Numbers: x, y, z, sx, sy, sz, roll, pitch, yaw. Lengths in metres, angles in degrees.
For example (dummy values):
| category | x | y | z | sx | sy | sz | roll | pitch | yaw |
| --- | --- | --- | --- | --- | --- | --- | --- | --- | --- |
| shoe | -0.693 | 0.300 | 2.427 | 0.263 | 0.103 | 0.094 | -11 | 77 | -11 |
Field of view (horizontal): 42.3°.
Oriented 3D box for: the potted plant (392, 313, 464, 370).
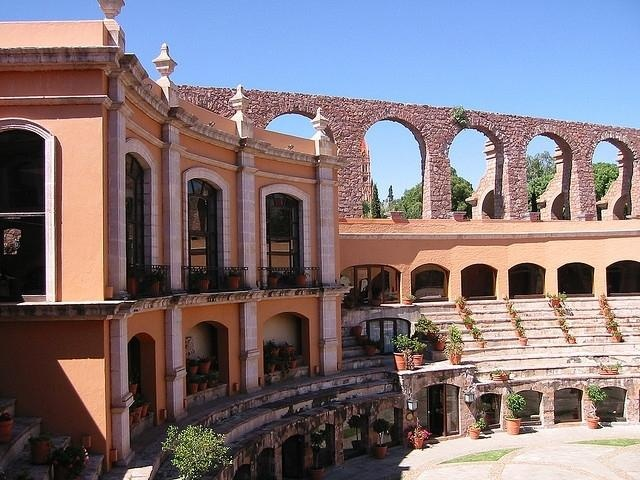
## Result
| category | x | y | z | sx | sy | sz | roll | pitch | yaw |
| --- | --- | --- | --- | --- | --- | --- | --- | --- | --- |
| potted plant | 5.038 | 4.704 | 38.139 | 2.961 | 2.073 | 3.488 | -3 | -2 | 22 |

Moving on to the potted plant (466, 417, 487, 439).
| category | x | y | z | sx | sy | sz | roll | pitch | yaw |
| --- | --- | --- | --- | --- | --- | --- | --- | --- | --- |
| potted plant | 7.049 | 8.388 | 36.977 | 0.926 | 0.919 | 0.717 | 1 | 1 | -17 |

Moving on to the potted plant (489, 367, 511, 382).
| category | x | y | z | sx | sy | sz | roll | pitch | yaw |
| --- | --- | --- | --- | --- | --- | --- | --- | --- | --- |
| potted plant | 8.100 | 6.177 | 37.625 | 0.858 | 0.519 | 0.527 | -3 | -2 | 8 |

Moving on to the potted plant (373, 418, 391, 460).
| category | x | y | z | sx | sy | sz | roll | pitch | yaw |
| --- | --- | --- | --- | --- | --- | --- | --- | --- | --- |
| potted plant | 2.705 | 8.314 | 34.915 | 0.618 | 1.562 | 1.073 | -3 | -2 | 16 |

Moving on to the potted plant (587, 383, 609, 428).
| category | x | y | z | sx | sy | sz | roll | pitch | yaw |
| --- | --- | --- | --- | --- | --- | --- | --- | --- | --- |
| potted plant | 12.525 | 7.643 | 38.151 | 0.761 | 2.012 | 1.448 | -3 | -2 | 18 |

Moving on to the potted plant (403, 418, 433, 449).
| category | x | y | z | sx | sy | sz | roll | pitch | yaw |
| --- | --- | --- | --- | --- | --- | --- | --- | --- | --- |
| potted plant | 4.325 | 8.350 | 35.835 | 1.282 | 1.250 | 0.598 | 0 | -3 | -43 |

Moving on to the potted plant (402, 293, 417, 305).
| category | x | y | z | sx | sy | sz | roll | pitch | yaw |
| --- | --- | --- | --- | --- | --- | --- | --- | --- | --- |
| potted plant | 4.433 | 2.919 | 40.715 | 0.536 | 0.345 | 0.516 | 0 | 0 | -13 |

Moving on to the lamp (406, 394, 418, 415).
| category | x | y | z | sx | sy | sz | roll | pitch | yaw |
| --- | --- | --- | --- | --- | --- | --- | --- | --- | --- |
| lamp | 4.040 | 7.092 | 35.617 | 0.415 | 0.844 | 0.581 | -4 | -3 | 33 |

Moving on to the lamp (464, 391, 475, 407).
| category | x | y | z | sx | sy | sz | roll | pitch | yaw |
| --- | --- | --- | --- | --- | --- | --- | --- | --- | --- |
| lamp | 6.608 | 7.062 | 36.736 | 0.455 | 0.642 | 0.511 | -2 | -2 | -2 |

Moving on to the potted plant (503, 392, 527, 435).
| category | x | y | z | sx | sy | sz | roll | pitch | yaw |
| --- | --- | --- | --- | --- | --- | --- | --- | --- | --- |
| potted plant | 8.662 | 7.812 | 37.329 | 0.826 | 1.843 | 1.697 | -3 | -2 | 10 |

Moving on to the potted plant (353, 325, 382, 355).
| category | x | y | z | sx | sy | sz | roll | pitch | yaw |
| --- | --- | --- | --- | --- | --- | --- | --- | --- | --- |
| potted plant | 2.158 | 4.693 | 38.666 | 0.625 | 1.328 | 1.276 | -2 | -2 | -23 |

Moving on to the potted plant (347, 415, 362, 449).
| category | x | y | z | sx | sy | sz | roll | pitch | yaw |
| --- | --- | --- | --- | --- | --- | --- | --- | --- | --- |
| potted plant | 1.585 | 8.100 | 34.782 | 0.556 | 1.383 | 0.248 | -2 | -2 | -4 |

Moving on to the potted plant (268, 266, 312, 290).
| category | x | y | z | sx | sy | sz | roll | pitch | yaw |
| --- | --- | --- | --- | --- | --- | --- | --- | --- | --- |
| potted plant | -1.132 | 1.566 | 34.495 | 0.521 | 0.842 | 2.382 | -4 | -3 | 38 |

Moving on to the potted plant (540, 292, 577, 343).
| category | x | y | z | sx | sy | sz | roll | pitch | yaw |
| --- | --- | --- | --- | --- | --- | --- | --- | --- | --- |
| potted plant | 12.061 | 3.971 | 41.961 | 1.329 | 2.351 | 2.889 | -3 | -2 | 15 |

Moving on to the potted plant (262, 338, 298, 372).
| category | x | y | z | sx | sy | sz | roll | pitch | yaw |
| --- | --- | --- | --- | --- | --- | --- | --- | --- | --- |
| potted plant | -1.541 | 4.665 | 34.229 | 1.220 | 0.974 | 1.523 | -5 | -6 | 38 |

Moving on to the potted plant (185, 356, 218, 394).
| category | x | y | z | sx | sy | sz | roll | pitch | yaw |
| --- | --- | --- | --- | --- | --- | --- | --- | --- | --- |
| potted plant | -4.240 | 5.054 | 31.034 | 1.212 | 0.841 | 1.095 | 1 | -6 | -23 |

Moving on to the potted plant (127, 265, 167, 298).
| category | x | y | z | sx | sy | sz | roll | pitch | yaw |
| --- | --- | --- | --- | --- | --- | --- | --- | --- | --- |
| potted plant | -5.552 | 1.366 | 27.807 | 0.657 | 1.065 | 2.590 | -3 | -2 | 7 |
